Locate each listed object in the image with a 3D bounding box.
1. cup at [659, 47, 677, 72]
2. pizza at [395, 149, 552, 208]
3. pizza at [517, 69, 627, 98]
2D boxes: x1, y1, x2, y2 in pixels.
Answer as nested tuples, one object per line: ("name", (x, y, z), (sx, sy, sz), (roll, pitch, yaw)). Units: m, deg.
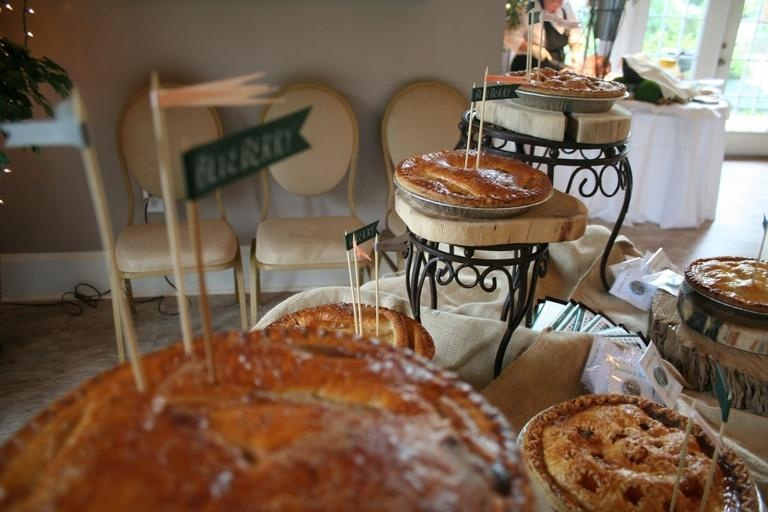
("cup", (1.974, -1.361, 3.709), (0.112, 0.162, 0.209), (7, 7, 25))
("pizza", (0.227, -0.192, 1.363), (0.256, 0.043, 0.240), (4, 26, -7))
("pizza", (0.610, -0.554, 1.723), (0.244, 0.036, 0.241), (3, 23, -8))
